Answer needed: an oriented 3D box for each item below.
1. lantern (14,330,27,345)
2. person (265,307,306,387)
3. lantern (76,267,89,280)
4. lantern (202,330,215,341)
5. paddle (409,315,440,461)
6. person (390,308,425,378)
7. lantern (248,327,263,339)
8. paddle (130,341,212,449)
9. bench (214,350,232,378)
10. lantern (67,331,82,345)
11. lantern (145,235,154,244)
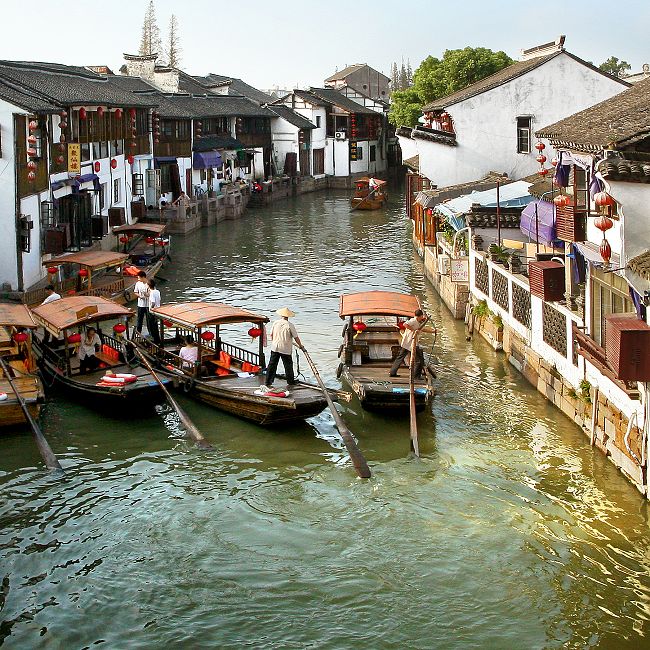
[{"bbox_3d":[-8.009,0.347,15.618,0.307,0.392,0.616,-7,12,-29],"label":"lantern"},{"bbox_3d":[-1.003,0.505,14.173,0.827,1.811,0.907,0,1,7],"label":"person"},{"bbox_3d":[-9.728,-2.040,23.861,0.459,0.258,0.585,23,15,-28],"label":"lantern"},{"bbox_3d":[-3.104,0.315,15.651,0.256,0.290,0.683,-3,10,-9],"label":"lantern"},{"bbox_3d":[2.167,1.278,13.154,0.684,2.846,0.467,2,14,4],"label":"paddle"},{"bbox_3d":[2.065,0.475,14.708,0.768,1.630,0.874,-9,17,-33],"label":"person"},{"bbox_3d":[-1.862,0.202,15.920,0.314,0.208,0.370,-3,1,-2],"label":"lantern"},{"bbox_3d":[-3.745,1.795,14.515,0.209,0.321,3.836,37,6,-48],"label":"paddle"},{"bbox_3d":[-2.756,1.068,16.104,0.535,0.616,0.204,-1,-19,36],"label":"bench"},{"bbox_3d":[-6.653,0.392,15.730,0.326,0.163,0.315,20,32,15],"label":"lantern"},{"bbox_3d":[-9.836,-4.798,33.307,0.414,0.441,0.508,13,-13,-9],"label":"lantern"}]
